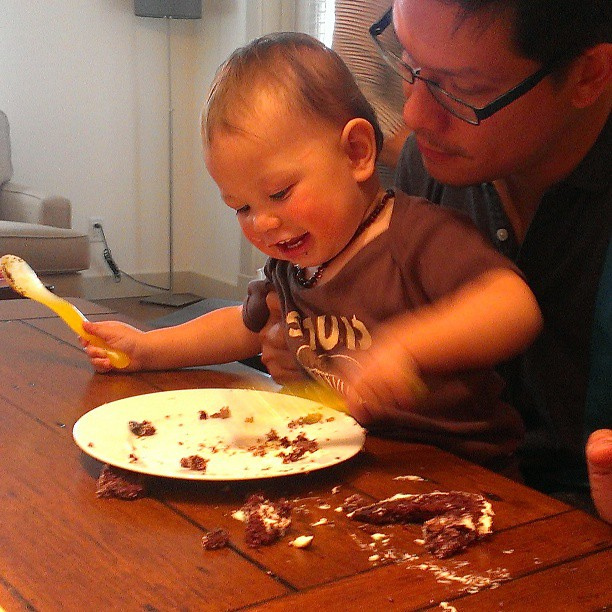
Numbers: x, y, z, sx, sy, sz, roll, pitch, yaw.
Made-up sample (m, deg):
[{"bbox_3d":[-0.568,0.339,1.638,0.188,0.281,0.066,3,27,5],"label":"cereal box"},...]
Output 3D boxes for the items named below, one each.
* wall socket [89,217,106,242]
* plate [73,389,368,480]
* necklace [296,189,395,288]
[{"bbox_3d":[-1.180,-0.436,4.063,0.110,0.136,0.061,-6,14,-27],"label":"wall socket"},{"bbox_3d":[-0.090,0.127,0.733,0.280,0.034,0.278,-3,12,-18],"label":"plate"},{"bbox_3d":[0.046,-0.088,0.947,0.139,0.132,0.067,3,13,13],"label":"necklace"}]
